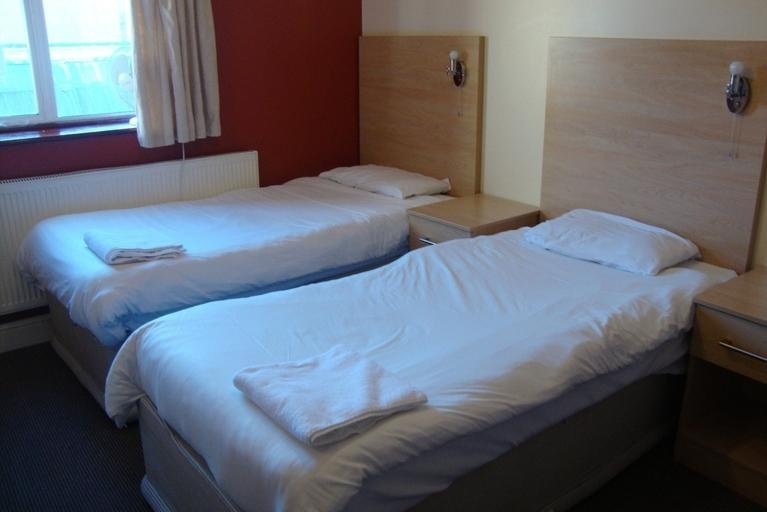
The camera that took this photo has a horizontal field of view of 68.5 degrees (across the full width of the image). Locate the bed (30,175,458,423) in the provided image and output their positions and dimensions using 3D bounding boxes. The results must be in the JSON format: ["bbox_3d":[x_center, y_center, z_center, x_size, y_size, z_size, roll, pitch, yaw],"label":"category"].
[{"bbox_3d":[-0.908,0.069,3.842,2.200,0.551,1.325,-14,28,-33],"label":"bed"}]

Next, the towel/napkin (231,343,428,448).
[{"bbox_3d":[-0.226,0.569,2.374,0.689,0.139,0.482,-13,25,-25],"label":"towel/napkin"}]

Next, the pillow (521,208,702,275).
[{"bbox_3d":[1.368,-0.085,3.460,0.656,0.165,0.484,20,31,41],"label":"pillow"}]

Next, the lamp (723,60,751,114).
[{"bbox_3d":[2.020,-0.943,3.194,0.135,0.274,0.064,12,26,29],"label":"lamp"}]

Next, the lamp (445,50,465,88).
[{"bbox_3d":[0.569,-1.454,4.372,0.170,0.255,0.072,9,25,30],"label":"lamp"}]
